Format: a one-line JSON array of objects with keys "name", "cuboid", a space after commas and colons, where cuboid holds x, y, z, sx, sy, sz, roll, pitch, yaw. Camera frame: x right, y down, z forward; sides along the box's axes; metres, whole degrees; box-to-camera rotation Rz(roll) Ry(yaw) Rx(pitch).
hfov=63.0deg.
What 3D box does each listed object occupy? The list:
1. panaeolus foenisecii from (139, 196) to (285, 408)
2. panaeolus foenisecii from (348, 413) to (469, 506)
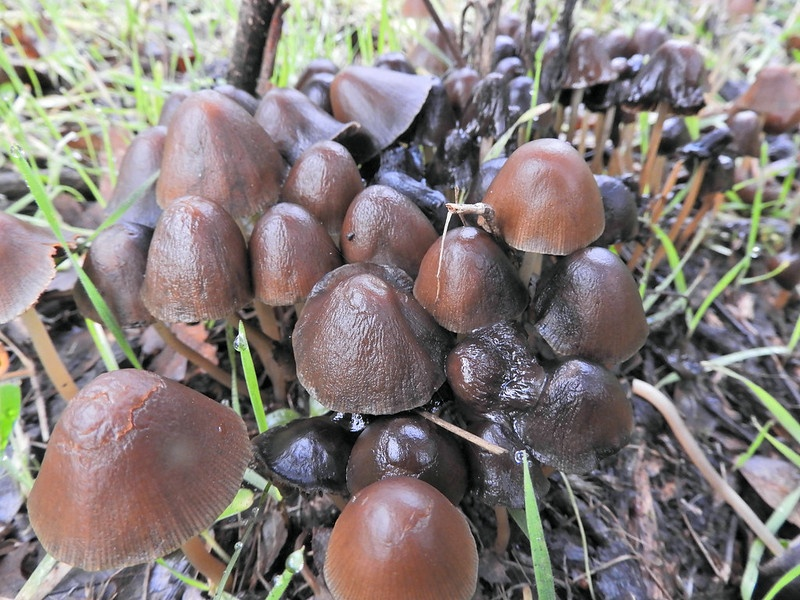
[{"name": "panaeolus foenisecii", "cuboid": [-0.819, -0.151, 2.630, 0.415, 0.364, 0.377, 21, 44, 13]}, {"name": "panaeolus foenisecii", "cuboid": [0.011, 0.608, 2.529, 0.477, 0.191, 0.500, 11, 20, -21]}]
